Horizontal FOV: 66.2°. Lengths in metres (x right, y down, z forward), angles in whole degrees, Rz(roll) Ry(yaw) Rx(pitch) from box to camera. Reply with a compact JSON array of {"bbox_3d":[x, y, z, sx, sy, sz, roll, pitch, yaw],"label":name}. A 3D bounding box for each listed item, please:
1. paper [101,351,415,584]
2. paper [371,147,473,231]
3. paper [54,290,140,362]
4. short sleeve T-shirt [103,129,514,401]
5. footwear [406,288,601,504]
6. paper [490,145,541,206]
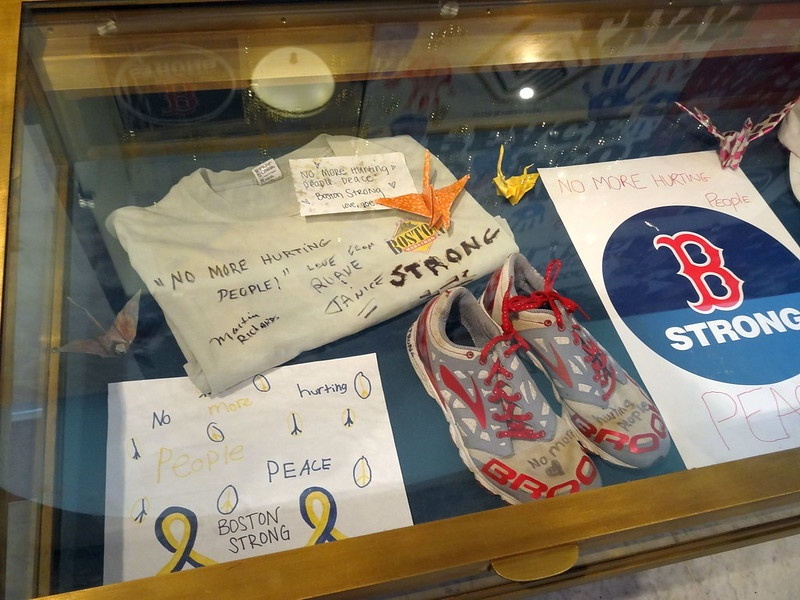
[{"bbox_3d":[-0.212,0.226,0.882,0.403,0.104,0.268,-4,48,-14],"label":"paper"},{"bbox_3d":[0.042,-0.171,1.091,0.117,0.099,0.155,11,52,-39],"label":"paper"},{"bbox_3d":[-0.430,0.047,0.928,0.063,0.032,0.146,32,50,18],"label":"paper"},{"bbox_3d":[-0.115,-0.055,1.101,0.620,0.131,0.408,-18,55,-18],"label":"short sleeve T-shirt"},{"bbox_3d":[0.105,0.173,1.064,0.187,0.148,0.406,-36,70,-22],"label":"footwear"},{"bbox_3d":[0.208,-0.223,1.133,0.093,0.086,0.029,5,37,10],"label":"paper"}]
